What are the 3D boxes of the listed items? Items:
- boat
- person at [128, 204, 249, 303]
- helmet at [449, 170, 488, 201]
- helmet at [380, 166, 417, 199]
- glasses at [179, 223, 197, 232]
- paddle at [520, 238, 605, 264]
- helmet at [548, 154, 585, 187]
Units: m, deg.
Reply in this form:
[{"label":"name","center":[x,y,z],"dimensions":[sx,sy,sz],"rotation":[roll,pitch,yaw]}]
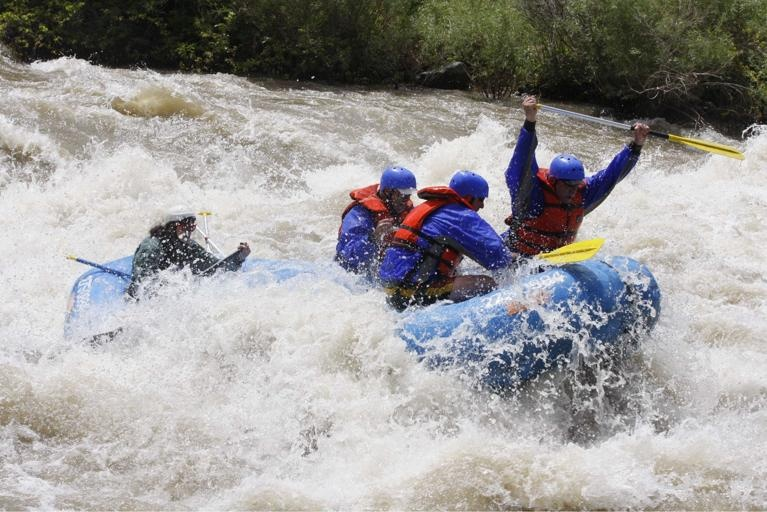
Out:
[{"label":"boat","center":[0.286,1.009,15.132],"dimensions":[6.080,1.229,3.281],"rotation":[5,-9,14]},{"label":"person","center":[-2.964,-0.027,15.782],"dimensions":[1.836,1.159,1.077],"rotation":[-3,19,5]},{"label":"helmet","center":[1.214,-1.041,15.090],"dimensions":[0.515,0.380,0.380],"rotation":[29,5,-14]},{"label":"helmet","center":[0.204,-1.128,15.849],"dimensions":[0.544,0.260,0.378],"rotation":[7,19,1]},{"label":"glasses","center":[-2.989,-0.425,15.723],"dimensions":[0.165,0.076,0.121],"rotation":[-2,8,6]},{"label":"paddle","center":[2.586,-0.038,14.647],"dimensions":[1.363,0.311,0.194],"rotation":[-14,-19,35]},{"label":"helmet","center":[2.704,-1.281,15.307],"dimensions":[0.499,0.383,0.360],"rotation":[-12,13,17]}]
